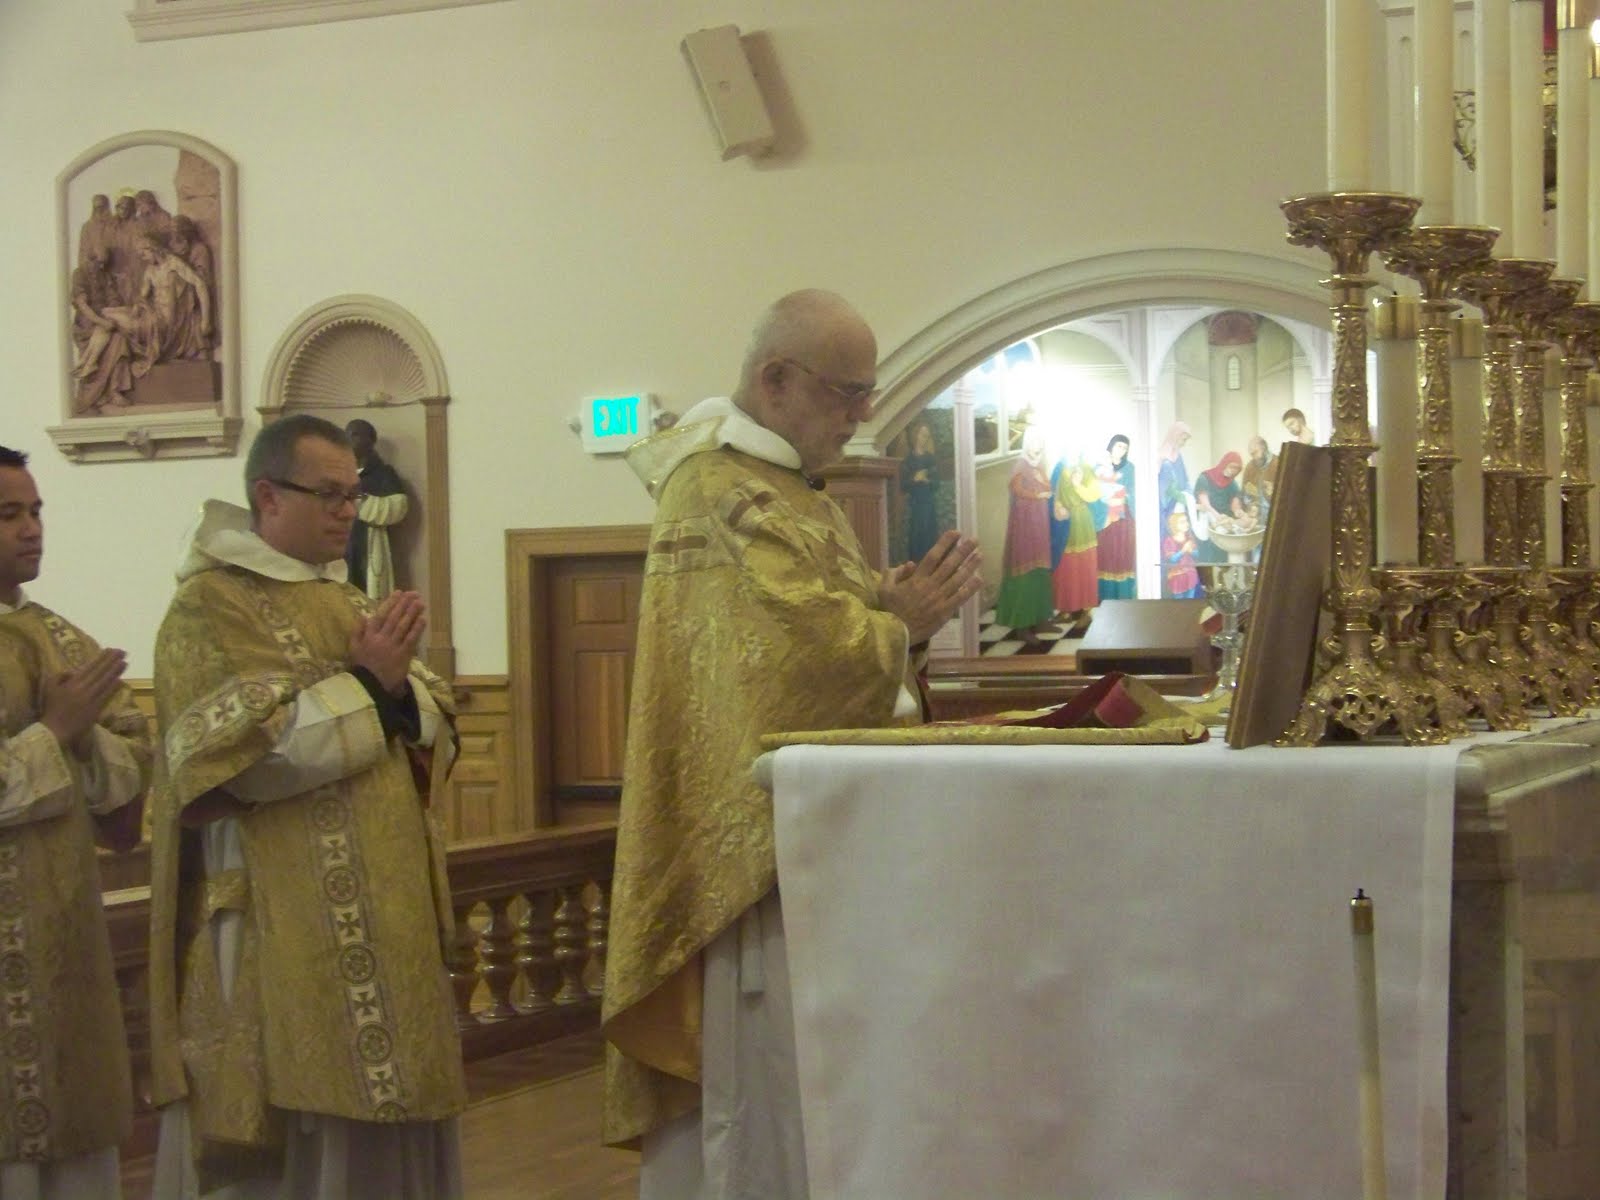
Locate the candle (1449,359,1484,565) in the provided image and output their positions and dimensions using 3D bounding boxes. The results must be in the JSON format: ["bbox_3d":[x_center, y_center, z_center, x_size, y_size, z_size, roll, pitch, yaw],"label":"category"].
[{"bbox_3d":[0.811,-0.168,1.852,0.034,0.248,0.110,-1,0,24],"label":"candle"}]

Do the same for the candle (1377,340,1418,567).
[{"bbox_3d":[0.665,-0.165,1.702,0.041,0.253,0.059,-1,0,20],"label":"candle"}]

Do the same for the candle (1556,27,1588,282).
[{"bbox_3d":[1.018,-0.589,2.011,0.040,0.343,0.193,-1,0,28],"label":"candle"}]

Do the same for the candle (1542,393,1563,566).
[{"bbox_3d":[1.217,-0.193,2.472,0.020,0.282,0.735,-1,1,26],"label":"candle"}]
